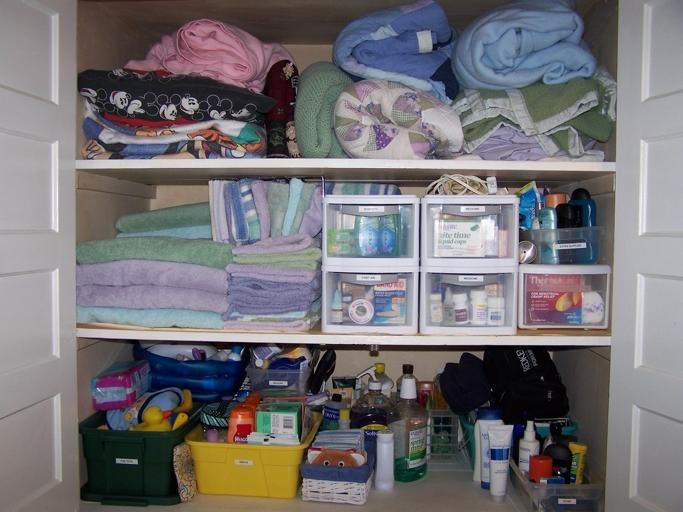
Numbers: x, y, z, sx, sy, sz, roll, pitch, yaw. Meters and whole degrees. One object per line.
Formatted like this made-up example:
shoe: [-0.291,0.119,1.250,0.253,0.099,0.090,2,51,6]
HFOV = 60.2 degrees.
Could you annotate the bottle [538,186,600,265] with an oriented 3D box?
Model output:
bottle: [0.771,-0.091,2.148,0.219,0.347,0.243,1,1,7]

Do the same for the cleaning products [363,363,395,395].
cleaning products: [0.140,0.465,2.228,0.135,0.182,0.117,1,10,7]

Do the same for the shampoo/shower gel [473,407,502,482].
shampoo/shower gel: [0.470,0.650,2.020,0.082,0.216,0.118,2,11,1]

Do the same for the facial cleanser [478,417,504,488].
facial cleanser: [0.498,0.663,2.024,0.068,0.207,0.093,1,12,1]

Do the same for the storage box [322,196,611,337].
storage box: [0.289,0.044,1.931,0.946,0.593,0.468,1,5,3]

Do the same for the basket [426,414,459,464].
basket: [0.343,0.649,2.204,0.163,0.203,0.155,-1,17,4]

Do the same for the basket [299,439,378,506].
basket: [-0.019,0.716,2.008,0.223,0.153,0.253,0,-1,16]

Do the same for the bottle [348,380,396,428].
bottle: [0.109,0.543,2.145,0.150,0.188,0.076,2,-29,1]

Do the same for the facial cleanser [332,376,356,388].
facial cleanser: [0.013,0.488,2.287,0.074,0.039,0.049,-1,-4,1]

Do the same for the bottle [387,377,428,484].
bottle: [0.215,0.602,2.037,0.120,0.365,0.128,1,11,0]

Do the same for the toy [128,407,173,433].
toy: [-0.631,0.558,1.986,0.092,0.095,0.037,11,-13,3]

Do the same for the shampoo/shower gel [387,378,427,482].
shampoo/shower gel: [0.231,0.605,2.014,0.119,0.360,0.127,1,11,0]

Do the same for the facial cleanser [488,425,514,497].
facial cleanser: [0.521,0.675,1.950,0.093,0.204,0.098,0,-1,6]
